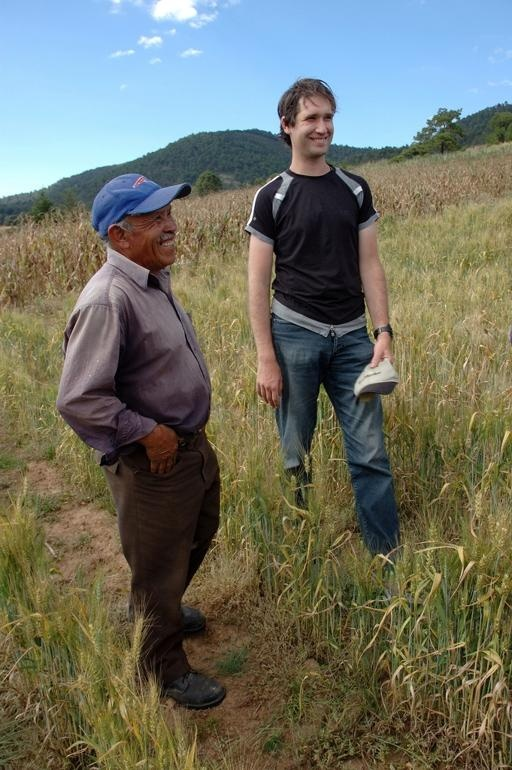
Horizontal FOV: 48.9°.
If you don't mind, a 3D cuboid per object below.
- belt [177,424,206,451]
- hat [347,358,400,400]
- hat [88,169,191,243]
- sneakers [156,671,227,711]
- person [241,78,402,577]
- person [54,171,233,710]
[{"bbox_3d":[-0.239,0.195,2.040,0.056,0.057,0.080,-2,-2,24],"label":"belt"},{"bbox_3d":[0.497,-0.030,2.360,0.160,0.072,0.174,-24,39,38],"label":"hat"},{"bbox_3d":[-0.417,-0.636,1.916,0.342,0.184,0.236,-21,16,22],"label":"hat"},{"bbox_3d":[-0.220,1.101,2.024,0.210,0.100,0.108,-3,9,10],"label":"sneakers"},{"bbox_3d":[0.275,-0.245,2.541,0.647,2.124,0.638,-5,13,14],"label":"person"},{"bbox_3d":[-0.345,0.236,2.007,0.344,1.890,0.635,0,15,32],"label":"person"}]
